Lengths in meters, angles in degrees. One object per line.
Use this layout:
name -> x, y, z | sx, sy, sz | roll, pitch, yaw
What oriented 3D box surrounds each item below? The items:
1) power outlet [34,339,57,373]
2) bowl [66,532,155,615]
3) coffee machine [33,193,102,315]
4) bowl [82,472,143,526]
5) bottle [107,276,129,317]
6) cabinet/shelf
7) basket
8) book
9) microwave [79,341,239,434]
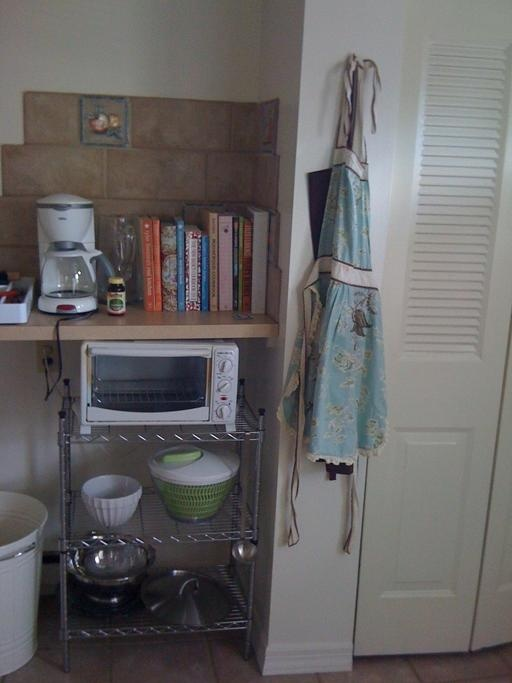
power outlet -> -0.655, 0.054, 2.069 | 0.066, 0.104, 0.022 | -5, 15, -18
bowl -> -0.453, 0.716, 2.077 | 0.253, 0.153, 0.233 | 6, 14, -2
coffee machine -> -0.512, -0.242, 1.809 | 0.185, 0.316, 0.173 | -7, 16, -26
bowl -> -0.426, 0.489, 1.965 | 0.169, 0.115, 0.169 | 2, 11, 0
bottle -> -0.401, -0.140, 1.892 | 0.060, 0.106, 0.182 | -3, 15, -11
cabinet/shelf -> -0.303, 0.543, 2.012 | 0.602, 0.720, 0.284 | 1, 11, -7
basket -> -0.175, 0.464, 1.941 | 0.235, 0.105, 0.233 | 4, -14, 2
book -> -0.141, -0.225, 1.912 | 0.364, 0.298, 0.055 | -2, 14, -9
microwave -> -0.270, 0.114, 1.823 | 0.404, 0.249, 0.236 | 2, 7, -11
